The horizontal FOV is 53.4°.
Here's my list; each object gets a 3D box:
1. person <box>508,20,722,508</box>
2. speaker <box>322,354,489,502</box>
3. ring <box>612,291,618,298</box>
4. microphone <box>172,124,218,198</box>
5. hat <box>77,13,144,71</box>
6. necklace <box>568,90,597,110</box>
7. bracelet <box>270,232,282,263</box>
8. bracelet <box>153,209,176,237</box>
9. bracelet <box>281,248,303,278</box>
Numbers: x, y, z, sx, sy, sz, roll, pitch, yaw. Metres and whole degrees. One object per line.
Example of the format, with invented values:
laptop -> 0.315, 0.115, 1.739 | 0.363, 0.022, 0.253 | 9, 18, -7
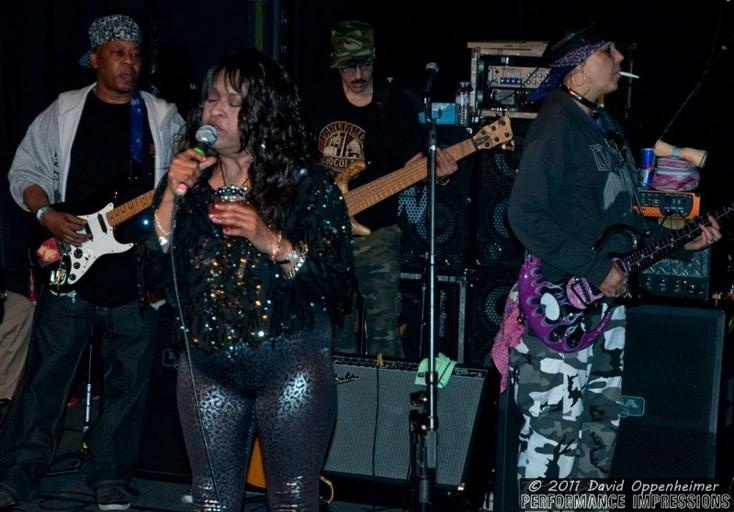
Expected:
person -> 0.980, 0.064, 3.504 | 0.651, 2.240, 0.483 | -6, 15, -34
speaker -> 0.212, 0.916, 3.786 | 0.844, 0.682, 0.342 | 5, -14, 19
ring -> 1.144, 0.176, 3.371 | 0.023, 0.017, 0.023 | 0, 9, 0
microphone -> -0.615, -0.371, 2.784 | 0.144, 0.273, 0.265 | 4, 13, 7
hat -> -1.529, -1.279, 4.329 | 0.341, 0.172, 0.346 | -18, -8, 41
necklace -> 1.022, -0.742, 3.476 | 0.104, 0.026, 0.098 | 33, 13, 22
bracelet -> -0.328, -0.035, 2.656 | 0.052, 0.087, 0.022 | 26, -10, -15
bracelet -> -0.765, -0.126, 2.769 | 0.073, 0.104, 0.037 | 0, -2, 3
bracelet -> -0.271, 0.028, 2.682 | 0.074, 0.105, 0.044 | 8, 10, -6
